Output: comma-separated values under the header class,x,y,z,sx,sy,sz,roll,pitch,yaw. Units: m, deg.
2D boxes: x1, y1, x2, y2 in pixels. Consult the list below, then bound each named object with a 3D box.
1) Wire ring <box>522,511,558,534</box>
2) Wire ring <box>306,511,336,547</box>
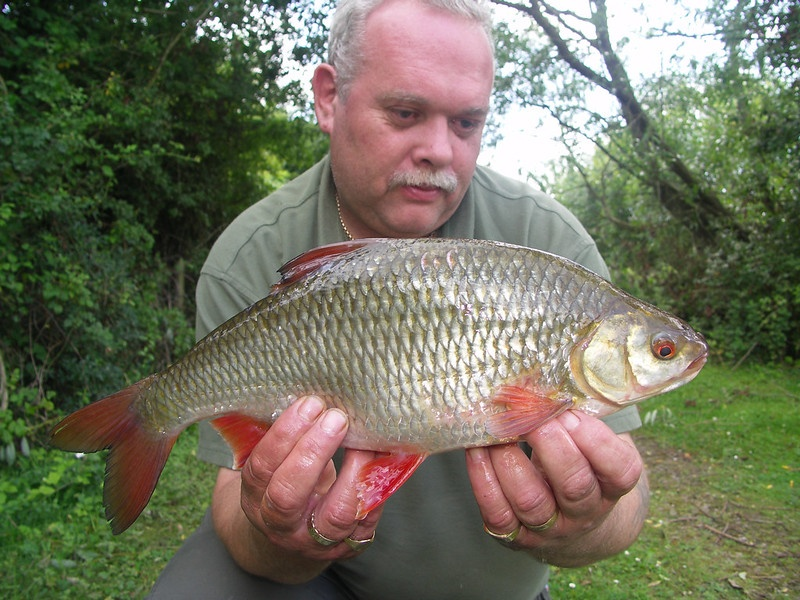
class,x,y,z,sx,sy,sz,roll,pitch,yaw
Wire ring,0.609,0.952,2.644,0.095,0.027,0.105,-25,-3,28
Wire ring,-0.351,1.013,2.712,0.037,0.141,0.132,-32,10,-31
